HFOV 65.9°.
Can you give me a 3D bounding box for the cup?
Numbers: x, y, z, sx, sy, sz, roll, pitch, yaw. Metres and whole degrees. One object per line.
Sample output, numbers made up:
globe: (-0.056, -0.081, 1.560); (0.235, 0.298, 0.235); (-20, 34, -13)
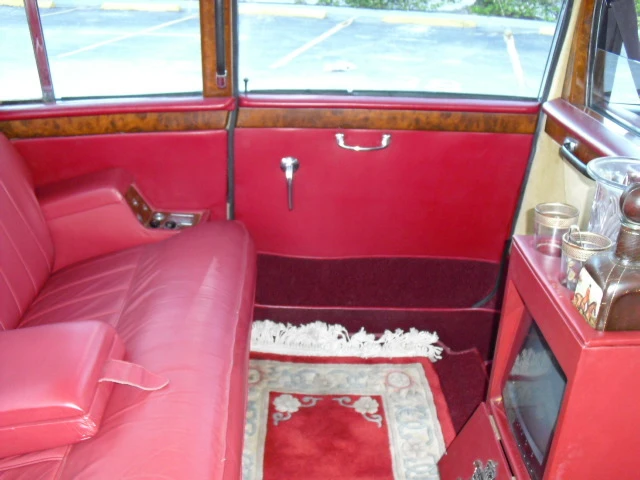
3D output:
cup: (0.574, -0.005, 1.188); (0.117, 0.229, 0.201); (-11, 22, -8)
